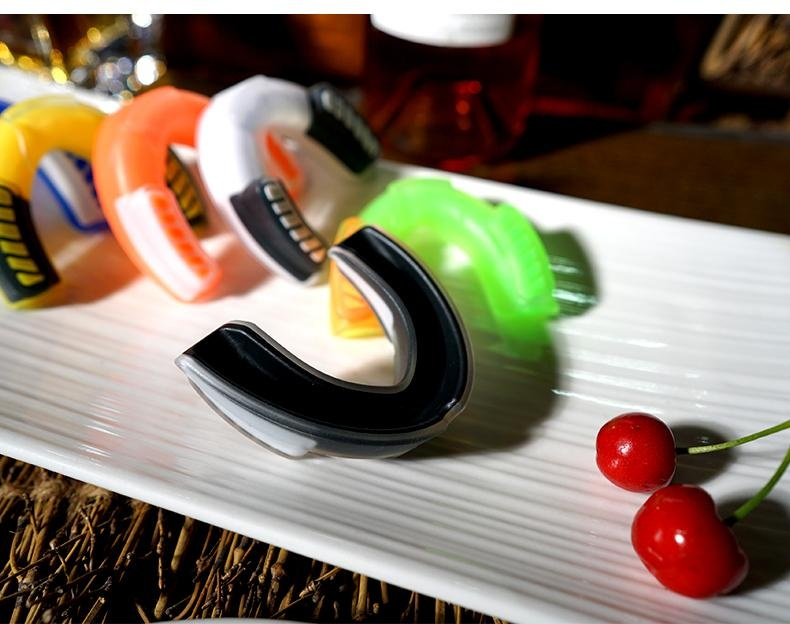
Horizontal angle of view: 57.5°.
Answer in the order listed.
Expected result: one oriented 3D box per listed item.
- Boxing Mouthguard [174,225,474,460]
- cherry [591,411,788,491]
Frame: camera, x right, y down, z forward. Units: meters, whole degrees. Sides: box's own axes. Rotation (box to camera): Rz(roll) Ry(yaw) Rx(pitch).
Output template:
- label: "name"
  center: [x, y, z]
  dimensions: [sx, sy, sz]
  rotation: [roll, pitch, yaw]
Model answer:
- label: "Boxing Mouthguard"
  center: [-0.068, 0.053, 0.773]
  dimensions: [0.245, 0.075, 0.286]
  rotation: [42, 64, 12]
- label: "cherry"
  center: [0.305, 0.144, 0.733]
  dimensions: [0.193, 0.083, 0.073]
  rotation: [-11, 65, 15]
